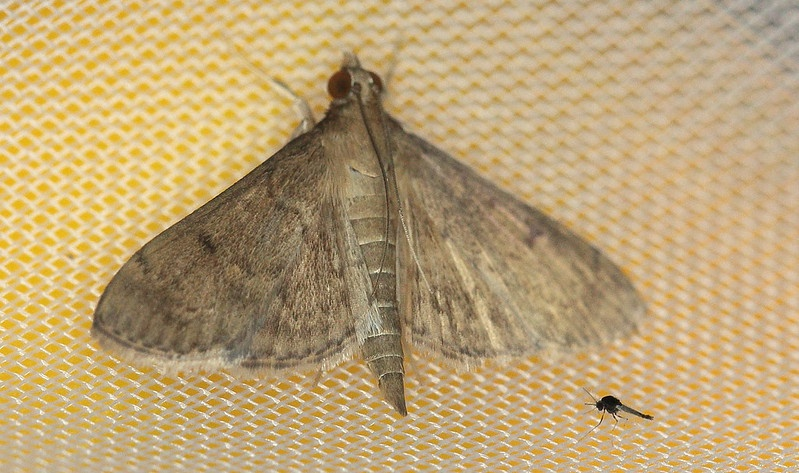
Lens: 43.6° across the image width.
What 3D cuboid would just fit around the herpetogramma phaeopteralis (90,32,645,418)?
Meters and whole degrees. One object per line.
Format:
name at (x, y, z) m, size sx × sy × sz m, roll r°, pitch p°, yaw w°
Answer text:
herpetogramma phaeopteralis at (-0.145, -0.090, 3.578) m, size 2.138 × 0.459 × 1.297 m, roll -2°, pitch -86°, yaw -3°
